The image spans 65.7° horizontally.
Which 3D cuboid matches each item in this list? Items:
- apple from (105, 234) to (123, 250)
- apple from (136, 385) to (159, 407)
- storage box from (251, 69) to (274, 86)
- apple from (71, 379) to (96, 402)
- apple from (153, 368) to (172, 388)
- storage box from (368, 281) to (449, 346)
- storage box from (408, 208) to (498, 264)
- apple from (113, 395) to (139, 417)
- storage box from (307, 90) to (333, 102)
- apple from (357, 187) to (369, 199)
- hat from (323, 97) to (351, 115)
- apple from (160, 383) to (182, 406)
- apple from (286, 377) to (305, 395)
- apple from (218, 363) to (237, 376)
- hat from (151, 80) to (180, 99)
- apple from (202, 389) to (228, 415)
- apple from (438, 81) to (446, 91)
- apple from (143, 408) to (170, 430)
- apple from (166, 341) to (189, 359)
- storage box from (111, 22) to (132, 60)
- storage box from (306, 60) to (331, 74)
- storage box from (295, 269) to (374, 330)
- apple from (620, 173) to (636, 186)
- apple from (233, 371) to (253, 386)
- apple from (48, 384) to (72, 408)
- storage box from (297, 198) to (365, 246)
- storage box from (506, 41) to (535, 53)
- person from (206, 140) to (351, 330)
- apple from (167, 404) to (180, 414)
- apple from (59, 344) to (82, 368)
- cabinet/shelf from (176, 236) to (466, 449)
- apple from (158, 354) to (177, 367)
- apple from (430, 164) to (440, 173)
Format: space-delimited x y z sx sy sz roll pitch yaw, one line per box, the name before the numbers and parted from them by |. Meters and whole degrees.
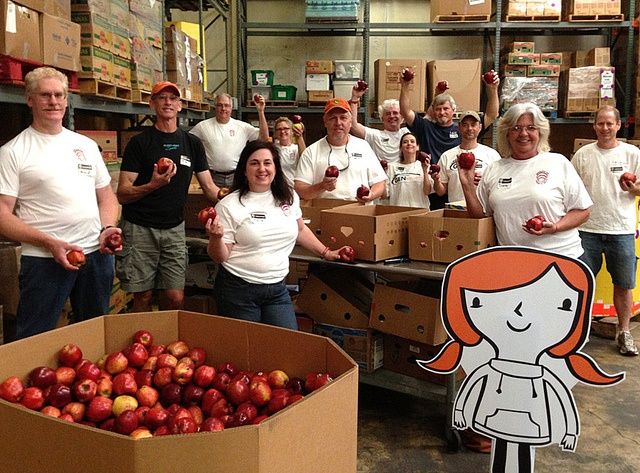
apple | -1.137 0.037 2.704 0.093 0.091 0.073 -1 13 -5
apple | -0.663 0.610 1.894 0.068 0.070 0.068 -19 12 -11
storage box | -0.993 -2.668 8.393 0.321 0.230 0.258 -1 15 -1
apple | -0.873 0.568 1.833 0.067 0.070 0.069 9 26 -6
apple | -0.629 0.558 1.972 0.068 0.071 0.069 -3 -2 4
storage box | 0.603 0.472 3.173 0.404 0.264 0.422 7 5 34
storage box | 0.828 -0.054 3.098 0.360 0.240 0.384 4 10 41
apple | -0.727 0.617 1.833 0.078 0.072 0.074 40 17 -38
storage box | 0.001 -2.328 8.357 0.510 0.230 0.378 0 7 -1
apple | 0.311 -0.319 3.621 0.083 0.090 0.056 0 13 2
hat | 0.143 -1.023 3.901 0.174 0.122 0.299 1 13 6
apple | -0.578 0.612 1.920 0.074 0.075 0.072 15 -37 -35
apple | -0.085 0.565 1.928 0.055 0.058 0.062 30 16 36
apple | -0.376 0.538 2.023 0.049 0.048 0.049 33 18 26
hat | -1.104 -1.049 3.544 0.178 0.120 0.294 -3 13 -13
apple | -0.418 0.623 1.899 0.084 0.086 0.082 21 -14 48
apple | 1.149 -1.417 4.666 0.069 0.038 0.100 3 5 -4
apple | -0.578 0.636 1.743 0.066 0.067 0.069 -6 3 -16
apple | -0.604 0.478 2.102 0.082 0.070 0.070 6 39 -21
storage box | -1.819 -1.766 4.517 0.061 0.245 0.258 1 -2 18
storage box | -0.025 -2.765 8.144 0.325 0.158 0.337 1 3 9
storage box | 0.116 0.443 3.517 0.417 0.288 0.451 7 9 14
apple | 2.502 -0.462 4.016 0.103 0.104 0.140 2 13 9
apple | -0.305 0.560 1.962 0.045 0.043 0.045 -6 -33 19
apple | -0.945 0.575 1.791 0.059 0.067 0.082 -8 3 3
storage box | -0.036 -0.155 3.631 0.375 0.243 0.369 8 11 38
storage box | 3.133 -2.972 7.864 0.457 0.164 0.340 11 17 40
person | -0.290 -0.004 2.815 0.830 1.053 0.452 -7 15 -29
apple | -0.548 0.641 1.845 0.026 0.036 0.028 29 48 -4
apple | -0.978 0.463 1.962 0.077 0.081 0.077 -1 8 3
cabinet/shelf | 0.355 0.701 3.196 1.082 0.725 1.118 11 14 25
apple | -0.627 0.506 2.017 0.061 0.051 0.054 -13 32 -32
apple | 0.892 -0.532 3.807 0.059 0.061 0.062 17 -9 40
